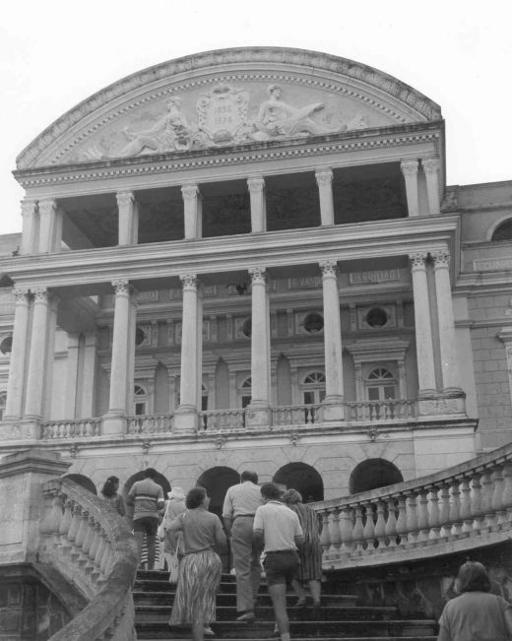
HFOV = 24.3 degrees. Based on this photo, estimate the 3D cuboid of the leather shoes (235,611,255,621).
[{"bbox_3d":[-0.140,3.519,14.062,0.200,0.116,0.286,0,-26,-2],"label":"leather shoes"}]
